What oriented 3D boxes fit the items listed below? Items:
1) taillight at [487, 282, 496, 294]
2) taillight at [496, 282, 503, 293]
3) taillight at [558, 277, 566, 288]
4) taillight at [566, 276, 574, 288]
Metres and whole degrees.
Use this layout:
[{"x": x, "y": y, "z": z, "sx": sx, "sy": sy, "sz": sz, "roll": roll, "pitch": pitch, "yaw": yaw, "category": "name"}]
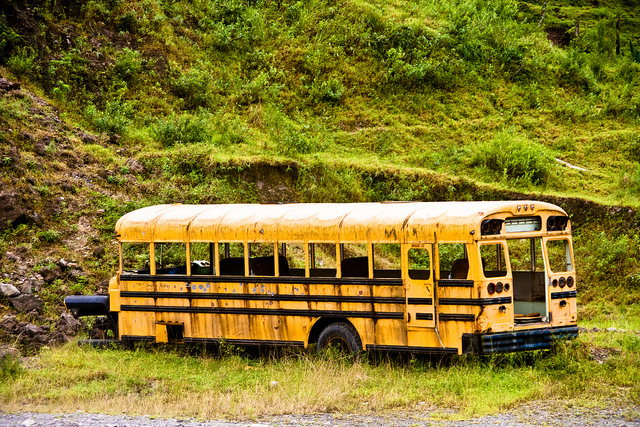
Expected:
[{"x": 5.207, "y": 2.291, "z": 26.437, "sx": 0.290, "sy": 0.342, "sz": 0.042, "roll": 6, "pitch": -9, "yaw": -26, "category": "taillight"}, {"x": 5.464, "y": 2.281, "z": 26.536, "sx": 0.218, "sy": 0.309, "sz": 0.055, "roll": 3, "pitch": -8, "yaw": -9, "category": "taillight"}, {"x": 7.638, "y": 2.198, "z": 27.449, "sx": 0.287, "sy": 0.319, "sz": 0.070, "roll": 6, "pitch": -9, "yaw": -30, "category": "taillight"}, {"x": 7.931, "y": 2.179, "z": 27.561, "sx": 0.303, "sy": 0.344, "sz": 0.089, "roll": 7, "pitch": -10, "yaw": -34, "category": "taillight"}]
